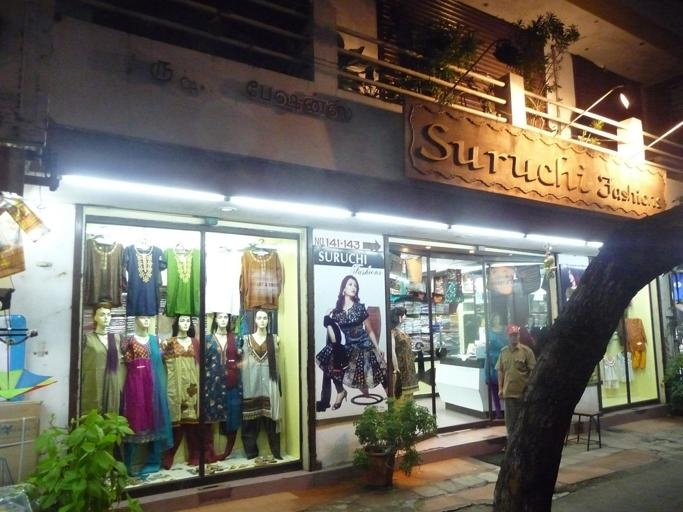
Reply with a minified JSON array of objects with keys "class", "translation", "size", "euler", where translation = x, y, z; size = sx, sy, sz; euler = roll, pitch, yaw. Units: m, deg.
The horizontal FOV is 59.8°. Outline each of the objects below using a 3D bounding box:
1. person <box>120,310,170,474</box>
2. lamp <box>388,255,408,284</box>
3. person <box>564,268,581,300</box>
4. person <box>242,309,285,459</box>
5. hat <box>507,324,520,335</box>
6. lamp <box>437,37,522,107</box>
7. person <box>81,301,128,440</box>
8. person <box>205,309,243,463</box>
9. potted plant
[{"class":"person","translation":[-2.780,1.975,8.513],"size":[0.697,2.277,0.383],"euler":[2,0,-27]},{"class":"lamp","translation":[0.976,0.268,10.685],"size":[0.444,0.460,0.389],"euler":[6,-14,-26]},{"class":"person","translation":[5.044,0.591,12.910],"size":[0.244,0.642,0.771],"euler":[2,0,29]},{"class":"person","translation":[-1.240,1.971,9.279],"size":[0.639,2.314,0.351],"euler":[2,0,-9]},{"class":"hat","translation":[2.969,1.272,10.276],"size":[0.241,0.181,0.332],"euler":[-1,-14,5]},{"class":"lamp","translation":[2.267,-2.900,9.586],"size":[1.097,1.186,2.529],"euler":[2,1,22]},{"class":"person","translation":[-3.279,1.403,8.194],"size":[0.604,1.538,0.382],"euler":[2,0,-31]},{"class":"person","translation":[-1.787,1.961,8.998],"size":[0.567,2.248,0.229],"euler":[2,0,-36]},{"class":"potted plant","translation":[0.560,2.901,9.005],"size":[0.907,1.006,0.742],"euler":[-20,-31,32]}]
